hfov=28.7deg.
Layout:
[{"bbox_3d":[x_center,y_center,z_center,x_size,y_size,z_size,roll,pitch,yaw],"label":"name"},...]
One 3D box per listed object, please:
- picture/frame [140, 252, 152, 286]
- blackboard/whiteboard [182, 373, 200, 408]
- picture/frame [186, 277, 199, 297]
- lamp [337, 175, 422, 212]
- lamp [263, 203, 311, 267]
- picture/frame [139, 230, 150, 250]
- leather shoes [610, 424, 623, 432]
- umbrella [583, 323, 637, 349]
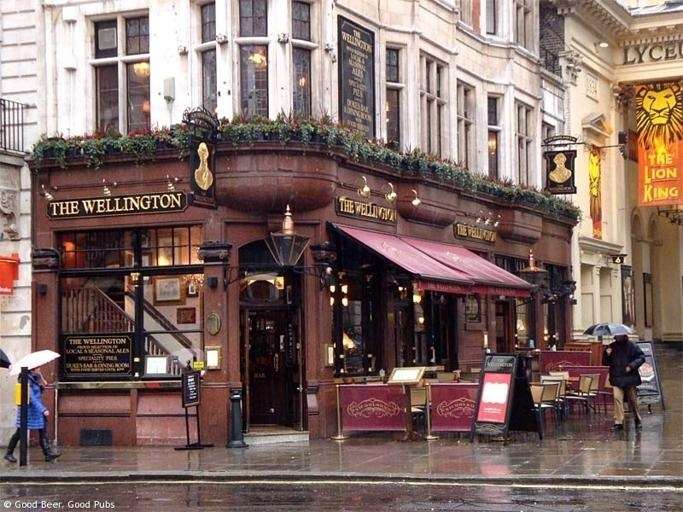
[{"bbox_3d":[-4.887,0.358,33.592,0.237,0.830,0.046,-4,-8,13],"label":"picture/frame"},{"bbox_3d":[-3.612,3.225,32.079,0.069,0.945,0.836,-4,-5,27],"label":"blackboard/whiteboard"},{"bbox_3d":[-3.688,0.772,33.284,0.324,0.485,0.054,-4,-8,19],"label":"picture/frame"},{"bbox_3d":[1.106,-1.983,35.673,0.650,0.726,2.677,-17,-15,30],"label":"lamp"},{"bbox_3d":[-1.347,-0.427,32.989,1.199,1.438,1.148,-5,-13,27],"label":"lamp"},{"bbox_3d":[-4.924,-0.401,33.654,0.298,0.506,0.072,-4,-8,18],"label":"picture/frame"},{"bbox_3d":[6.782,4.230,32.929,0.290,0.150,0.292,-2,-8,4],"label":"leather shoes"},{"bbox_3d":[7.785,2.383,39.357,1.508,0.531,1.528,0,0,25],"label":"umbrella"}]
